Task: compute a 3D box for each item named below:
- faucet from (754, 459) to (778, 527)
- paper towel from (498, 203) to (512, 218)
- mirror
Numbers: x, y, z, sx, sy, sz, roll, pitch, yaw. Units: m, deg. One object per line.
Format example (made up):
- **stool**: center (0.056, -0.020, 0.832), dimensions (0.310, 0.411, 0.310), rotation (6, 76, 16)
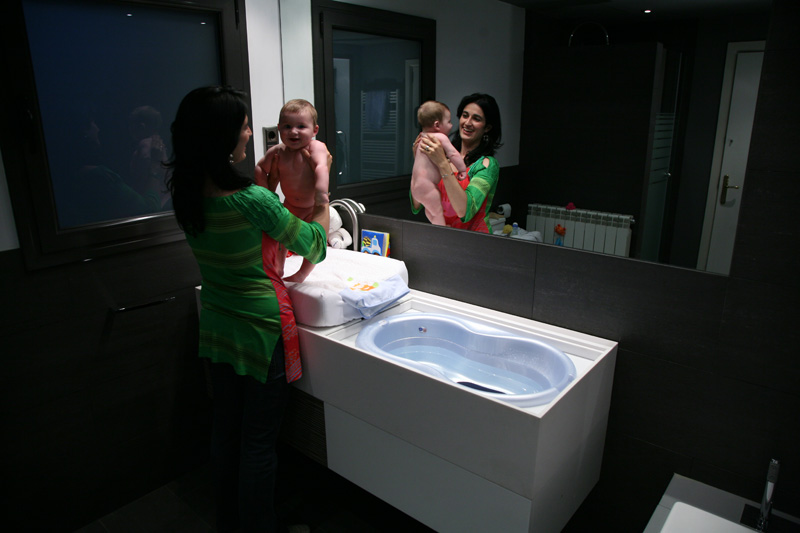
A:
- **faucet**: center (1.282, 0.791, 1.827), dimensions (0.038, 0.248, 0.062), rotation (17, 21, 39)
- **paper towel**: center (0.450, -0.243, 2.243), dimensions (0.054, 0.066, 0.044), rotation (-17, 20, -34)
- **mirror**: center (0.597, -0.519, 2.095), dimensions (1.188, 0.740, 0.041), rotation (15, 26, 34)
